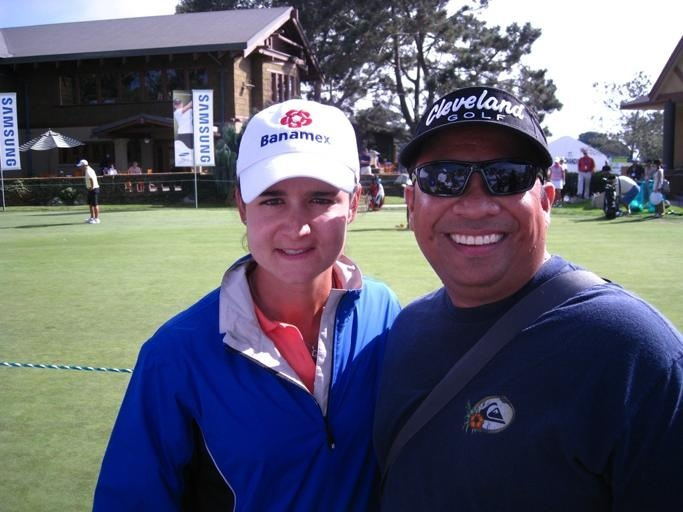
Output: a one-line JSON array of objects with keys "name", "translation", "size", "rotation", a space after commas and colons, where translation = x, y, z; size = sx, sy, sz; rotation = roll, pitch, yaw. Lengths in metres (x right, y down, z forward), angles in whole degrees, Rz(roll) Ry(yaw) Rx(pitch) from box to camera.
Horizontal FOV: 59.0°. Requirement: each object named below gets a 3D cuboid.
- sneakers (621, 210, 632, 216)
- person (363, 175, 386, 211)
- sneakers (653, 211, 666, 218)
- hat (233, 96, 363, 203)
[{"name": "sneakers", "translation": [10.126, -1.523, 21.370], "size": [0.192, 0.268, 0.554], "rotation": [4, 3, 29]}, {"name": "person", "translation": [1.845, -2.842, 27.591], "size": [0.984, 0.807, 1.815], "rotation": [-6, -34, 11]}, {"name": "sneakers", "translation": [10.736, -1.383, 20.324], "size": [0.215, 0.262, 0.603], "rotation": [0, 1, 32]}, {"name": "hat", "translation": [-0.186, -0.441, 2.610], "size": [0.355, 0.295, 0.528], "rotation": [0, 6, 0]}]
